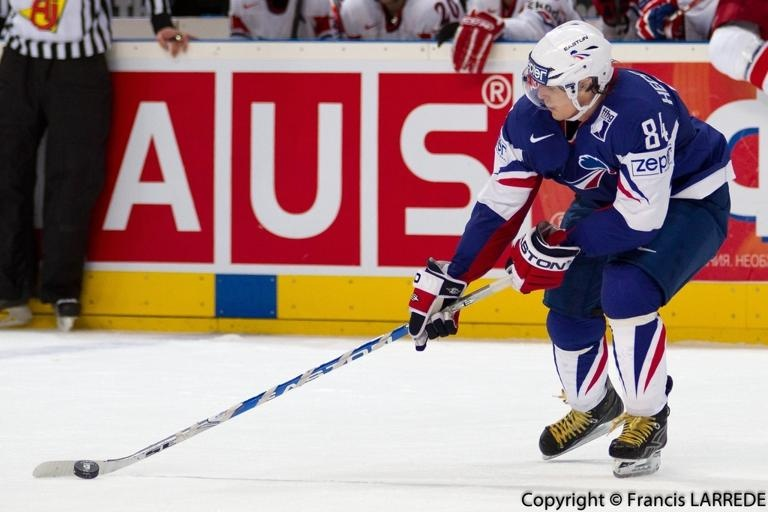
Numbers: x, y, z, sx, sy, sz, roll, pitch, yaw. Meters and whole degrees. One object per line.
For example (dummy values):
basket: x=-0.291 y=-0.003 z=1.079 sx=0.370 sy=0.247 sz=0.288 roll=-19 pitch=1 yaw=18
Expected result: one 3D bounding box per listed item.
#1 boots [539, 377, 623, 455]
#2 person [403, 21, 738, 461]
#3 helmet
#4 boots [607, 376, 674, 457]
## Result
boots: x=0.854 y=0.701 z=4.646 sx=0.354 sy=0.173 sz=0.108 roll=-30 pitch=53 yaw=-7
person: x=0.834 y=-0.109 z=4.572 sx=1.131 sy=1.691 sz=0.657 roll=11 pitch=20 yaw=23
helmet: x=0.741 y=-0.829 z=4.428 sx=0.322 sy=0.267 sz=0.251 roll=-17 pitch=28 yaw=0
boots: x=1.058 y=0.726 z=4.467 sx=0.222 sy=0.186 sz=0.207 roll=7 pitch=19 yaw=11
